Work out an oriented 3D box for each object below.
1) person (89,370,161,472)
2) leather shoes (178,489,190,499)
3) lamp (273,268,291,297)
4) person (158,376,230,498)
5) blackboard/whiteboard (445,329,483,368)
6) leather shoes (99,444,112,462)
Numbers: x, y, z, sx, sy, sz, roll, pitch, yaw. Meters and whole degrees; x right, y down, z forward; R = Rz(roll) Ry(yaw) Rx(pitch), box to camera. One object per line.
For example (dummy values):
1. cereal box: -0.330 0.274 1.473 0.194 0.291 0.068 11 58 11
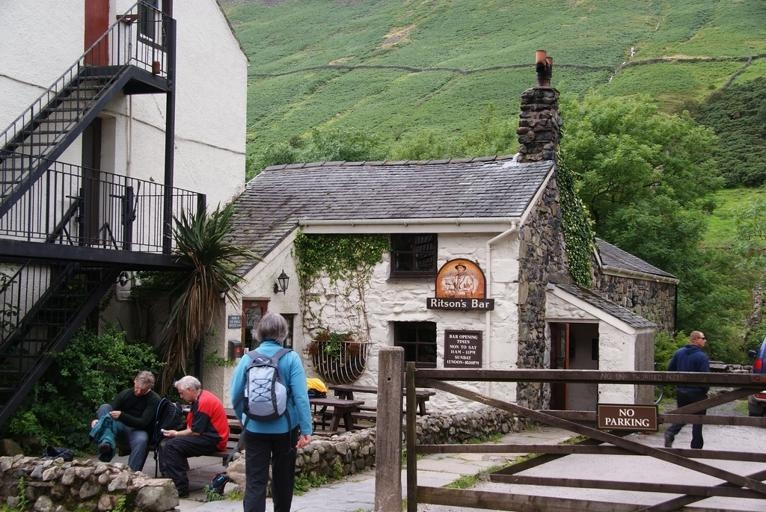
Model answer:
1. person: -4.464 2.857 16.961 1.080 1.689 0.472 4 -7 -13
2. leather shoes: -3.360 4.044 16.599 0.134 0.124 0.275 -3 -8 34
3. lamp: -2.359 0.633 22.655 0.481 0.701 0.376 -6 -4 24
4. person: -3.238 3.095 16.784 1.144 2.017 0.527 4 -7 -13
5. blackboard/whiteboard: 1.926 2.157 22.385 0.880 0.770 0.093 0 -9 11
6. leather shoes: -4.771 3.393 16.812 0.245 0.302 0.248 4 -7 -15
